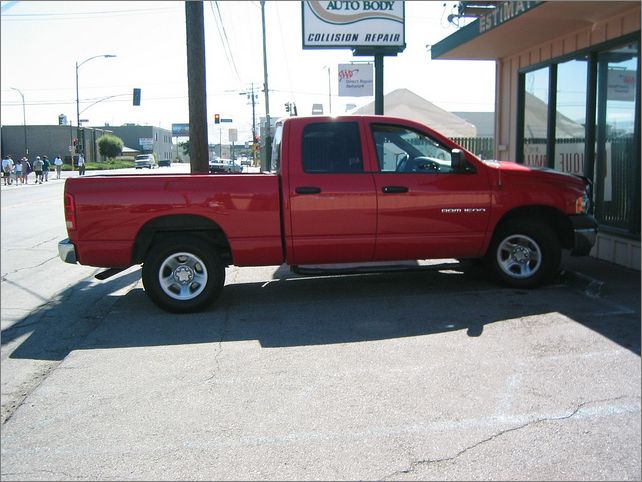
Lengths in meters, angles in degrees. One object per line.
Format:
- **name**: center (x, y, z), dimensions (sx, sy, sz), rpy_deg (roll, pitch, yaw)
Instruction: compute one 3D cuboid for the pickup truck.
- **pickup truck**: center (0.327, -0.405, 7.716), dimensions (7.313, 2.399, 3.049), rpy_deg (-2, 7, -8)
